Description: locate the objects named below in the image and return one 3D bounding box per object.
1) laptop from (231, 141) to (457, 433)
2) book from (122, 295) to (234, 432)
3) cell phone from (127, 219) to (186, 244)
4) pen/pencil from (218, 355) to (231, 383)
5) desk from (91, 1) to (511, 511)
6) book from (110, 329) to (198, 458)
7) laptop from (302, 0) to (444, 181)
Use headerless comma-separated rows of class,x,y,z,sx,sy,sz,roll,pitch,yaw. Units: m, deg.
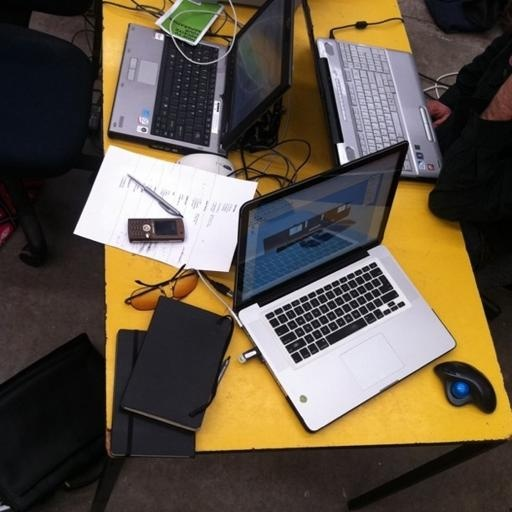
laptop,0.148,0.064,1.126,0.545,0.423,0.514,-22,73,-26
book,-0.154,0.209,0.947,0.161,0.069,0.248,18,65,-6
cell phone,-0.216,-0.055,1.068,0.109,0.029,0.063,0,74,-7
pen/pencil,-0.065,0.222,0.975,0.011,0.014,0.064,14,76,13
desk,0.027,0.148,1.934,0.978,0.885,2.038,-1,75,-11
book,-0.195,0.258,0.939,0.151,0.046,0.231,3,58,-12
laptop,0.290,-0.380,1.350,0.337,0.281,0.449,-16,89,-62
